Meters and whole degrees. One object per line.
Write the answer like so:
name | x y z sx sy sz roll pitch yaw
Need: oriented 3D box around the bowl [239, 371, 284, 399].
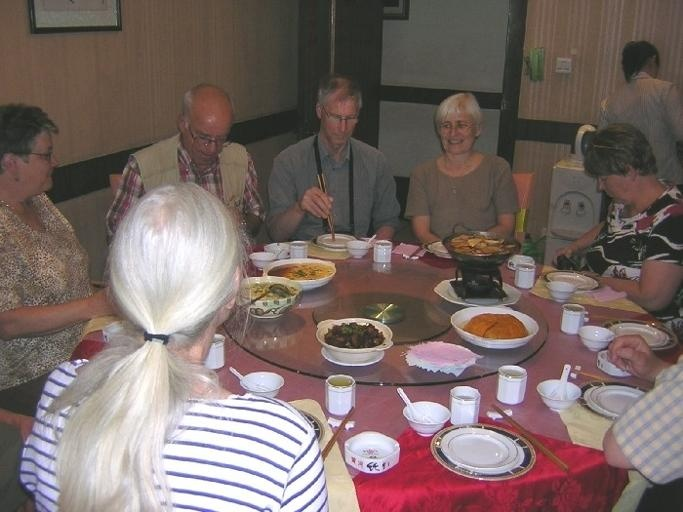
bowl | -0.283 0.442 1.843 0.126 0.051 0.127 0 22 0

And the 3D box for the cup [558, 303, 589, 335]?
cup | 0.990 0.266 2.269 0.126 0.126 0.097 0 9 -5

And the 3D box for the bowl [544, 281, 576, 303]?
bowl | 1.041 0.164 2.541 0.096 0.074 0.110 -5 7 -33

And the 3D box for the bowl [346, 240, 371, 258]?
bowl | 0.106 -0.039 3.012 0.100 0.054 0.103 2 40 -2

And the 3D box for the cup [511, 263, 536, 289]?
cup | 0.911 0.107 2.720 0.119 0.128 0.112 0 15 0

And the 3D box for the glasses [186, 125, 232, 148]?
glasses | -0.793 -0.696 3.132 0.157 0.051 0.162 -15 43 -38

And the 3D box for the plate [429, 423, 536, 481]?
plate | 0.427 0.588 1.616 0.313 0.044 0.208 -4 20 -3

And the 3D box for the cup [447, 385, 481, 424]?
cup | 0.398 0.486 1.741 0.089 0.093 0.118 0 10 5

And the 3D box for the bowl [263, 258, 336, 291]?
bowl | -0.237 0.102 2.613 0.316 0.094 0.332 -6 17 2

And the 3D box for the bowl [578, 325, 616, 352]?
bowl | 1.036 0.324 2.154 0.103 0.049 0.106 -4 29 2

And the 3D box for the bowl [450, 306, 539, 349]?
bowl | 0.629 0.286 2.188 0.215 0.048 0.215 -1 27 0

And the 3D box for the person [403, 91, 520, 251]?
person | 0.833 -0.541 3.718 0.788 1.152 0.697 0 8 20

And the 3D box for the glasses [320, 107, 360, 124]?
glasses | -0.024 -0.932 3.544 0.242 0.089 0.170 0 21 8

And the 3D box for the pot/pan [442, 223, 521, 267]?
pot/pan | 0.715 -0.104 2.784 0.370 0.116 0.382 -1 -8 1

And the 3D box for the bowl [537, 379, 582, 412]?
bowl | 0.741 0.484 1.816 0.138 0.061 0.144 -6 9 1

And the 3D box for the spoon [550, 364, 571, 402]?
spoon | 0.772 0.440 1.864 0.046 0.142 0.021 8 -8 -7

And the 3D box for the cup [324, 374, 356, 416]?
cup | -0.004 0.466 1.790 0.097 0.096 0.087 1 10 1

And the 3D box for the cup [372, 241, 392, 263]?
cup | 0.221 -0.017 2.973 0.109 0.119 0.102 2 16 -1

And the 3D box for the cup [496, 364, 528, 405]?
cup | 0.584 0.447 1.880 0.093 0.115 0.122 1 11 5

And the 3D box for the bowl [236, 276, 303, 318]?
bowl | -0.315 0.158 2.380 0.205 0.091 0.207 3 -6 0
